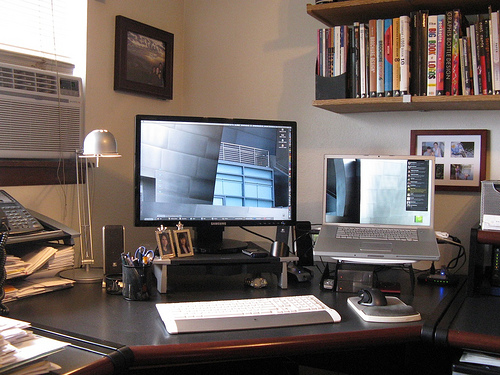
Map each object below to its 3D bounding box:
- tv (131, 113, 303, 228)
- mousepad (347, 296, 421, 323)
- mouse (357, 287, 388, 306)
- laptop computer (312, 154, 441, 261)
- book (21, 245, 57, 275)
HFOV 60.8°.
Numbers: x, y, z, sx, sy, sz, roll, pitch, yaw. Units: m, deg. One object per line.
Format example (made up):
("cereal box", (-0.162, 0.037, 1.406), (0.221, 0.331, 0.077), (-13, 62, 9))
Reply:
("tv", (-0.147, -0.064, 1.764), (0.496, 0.320, 0.034), (2, -3, -12))
("mousepad", (0.473, 0.424, 1.513), (0.205, 0.029, 0.215), (1, 9, -7))
("mouse", (0.435, 0.389, 1.516), (0.055, 0.041, 0.081), (-3, 8, -25))
("laptop computer", (0.519, 0.055, 1.732), (0.498, 0.345, 0.432), (0, 9, 13))
("book", (-0.795, 0.265, 1.601), (0.092, 0.034, 0.090), (-28, 0, 7))
